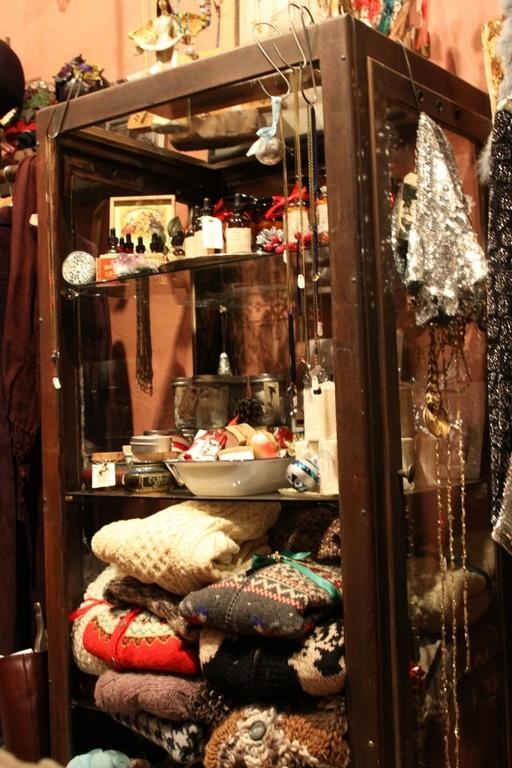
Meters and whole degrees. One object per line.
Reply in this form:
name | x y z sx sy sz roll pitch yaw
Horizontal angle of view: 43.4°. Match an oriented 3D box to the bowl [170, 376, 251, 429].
bowl | -0.102 0.037 1.263 0.095 0.082 0.119 -4 -5 33
